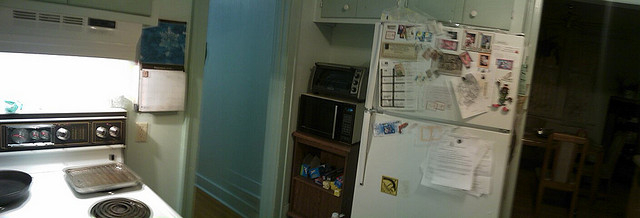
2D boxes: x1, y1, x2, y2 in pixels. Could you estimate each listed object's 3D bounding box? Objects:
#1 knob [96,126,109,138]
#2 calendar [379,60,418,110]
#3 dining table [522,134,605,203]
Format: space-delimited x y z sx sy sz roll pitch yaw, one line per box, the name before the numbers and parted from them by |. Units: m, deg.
knob | -3.502 0.381 5.500 0.198 0.162 0.048 12 0 -11
calendar | 1.204 -0.388 5.476 1.024 0.715 0.194 3 5 14
dining table | 4.508 0.872 5.875 0.968 0.670 1.059 23 2 -2
